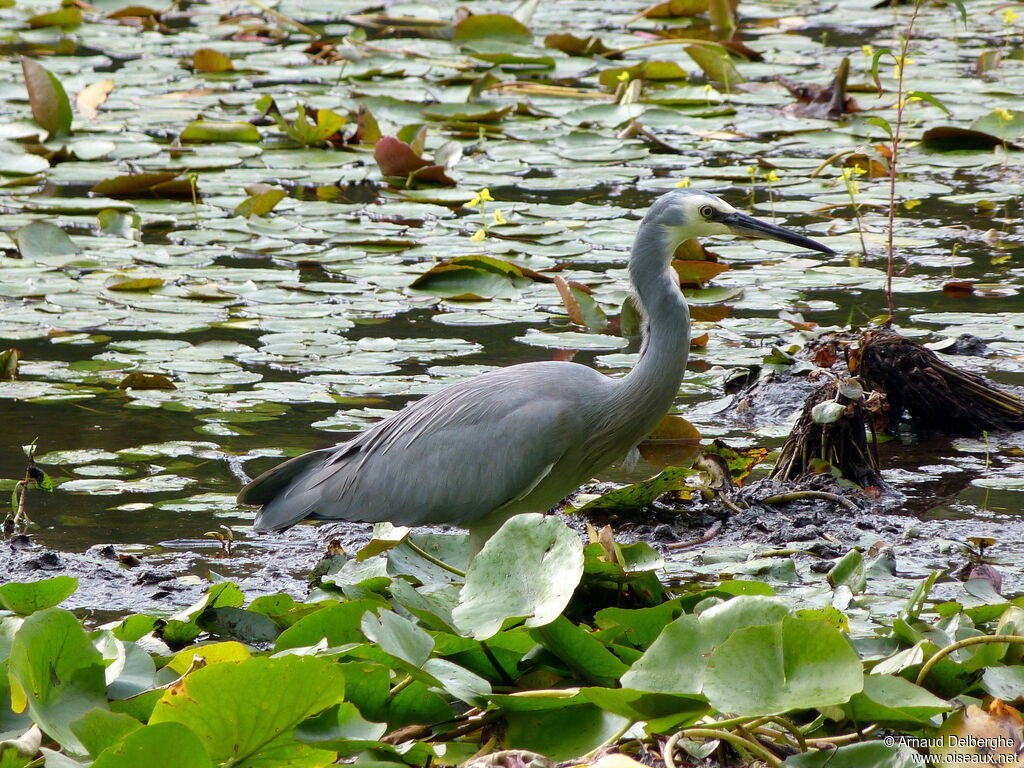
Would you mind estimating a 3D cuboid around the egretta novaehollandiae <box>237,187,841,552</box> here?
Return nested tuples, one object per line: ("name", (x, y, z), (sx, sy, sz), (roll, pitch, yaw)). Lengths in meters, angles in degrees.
("egretta novaehollandiae", (-0.020, -0.074, 4.680), (1.789, 1.334, 0.500), (3, 12, -2))
